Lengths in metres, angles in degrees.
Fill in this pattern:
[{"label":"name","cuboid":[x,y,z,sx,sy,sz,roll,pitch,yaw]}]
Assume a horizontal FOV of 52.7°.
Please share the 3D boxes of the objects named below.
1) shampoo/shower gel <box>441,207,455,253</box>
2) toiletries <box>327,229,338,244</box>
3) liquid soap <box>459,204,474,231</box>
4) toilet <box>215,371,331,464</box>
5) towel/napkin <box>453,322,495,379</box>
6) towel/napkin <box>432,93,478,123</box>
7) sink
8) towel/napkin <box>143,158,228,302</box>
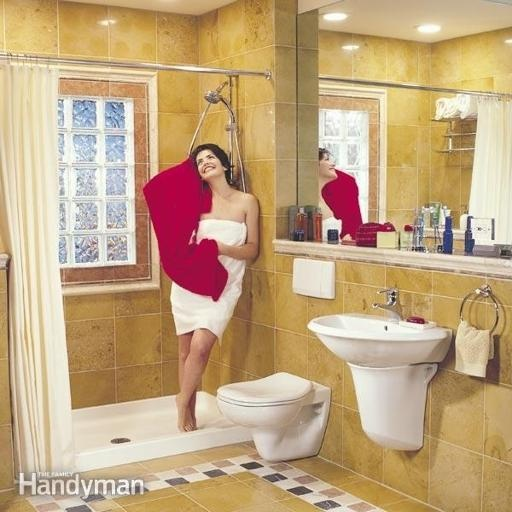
[{"label":"shampoo/shower gel","cuboid":[0.757,-0.093,2.045,0.042,0.174,0.134,-1,0,22]},{"label":"toiletries","cuboid":[0.387,-0.092,2.603,0.053,0.072,0.058,2,8,19]},{"label":"liquid soap","cuboid":[0.815,-0.138,2.027,0.055,0.116,0.063,-2,9,-17]},{"label":"toilet","cuboid":[0.085,0.837,2.606,0.526,0.427,0.462,-3,5,-19]},{"label":"towel/napkin","cuboid":[0.762,0.341,1.845,0.088,0.213,0.193,0,0,-16]},{"label":"towel/napkin","cuboid":[0.799,-0.589,2.076,0.022,0.119,0.236,0,0,-18]},{"label":"sink","cuboid":[0.435,0.346,2.038,0.469,0.188,0.532,-1,0,-35]},{"label":"towel/napkin","cuboid":[-0.404,-0.156,3.049,0.420,0.810,0.189,-19,-10,13]}]
